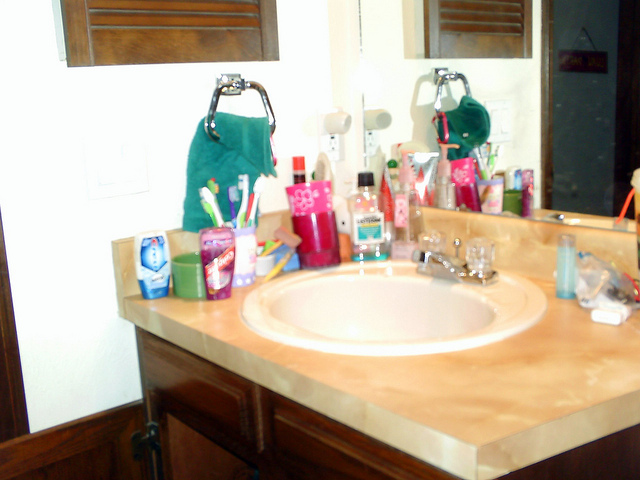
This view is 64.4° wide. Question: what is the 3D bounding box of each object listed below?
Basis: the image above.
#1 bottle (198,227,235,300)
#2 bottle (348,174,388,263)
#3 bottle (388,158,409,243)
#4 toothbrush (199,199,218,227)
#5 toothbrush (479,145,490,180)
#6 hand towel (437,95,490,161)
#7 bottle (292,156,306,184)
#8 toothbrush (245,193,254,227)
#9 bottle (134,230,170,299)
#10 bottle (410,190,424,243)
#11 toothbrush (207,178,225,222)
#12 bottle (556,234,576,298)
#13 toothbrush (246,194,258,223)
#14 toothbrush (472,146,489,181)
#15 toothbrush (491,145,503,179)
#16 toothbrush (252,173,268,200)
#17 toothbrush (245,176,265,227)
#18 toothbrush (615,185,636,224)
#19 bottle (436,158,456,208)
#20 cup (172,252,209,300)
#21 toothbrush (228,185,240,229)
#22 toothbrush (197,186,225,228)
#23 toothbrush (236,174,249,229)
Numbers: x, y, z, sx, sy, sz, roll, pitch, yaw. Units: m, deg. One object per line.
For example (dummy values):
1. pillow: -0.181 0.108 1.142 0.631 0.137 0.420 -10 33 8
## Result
1. bottle: -0.259 0.060 1.260 0.089 0.180 0.098 -2 4 0
2. bottle: 0.141 -0.079 1.433 0.101 0.254 0.088 6 37 15
3. bottle: 0.226 -0.112 1.458 0.054 0.226 0.160 -2 12 8
4. toothbrush: -0.284 -0.077 1.299 0.012 0.113 0.025 35 62 31
5. toothbrush: 0.414 -0.201 1.292 0.016 0.100 0.013 -13 6 1
6. hand towel: 0.382 -0.292 1.312 0.013 0.159 0.125 -13 15 -38
7. bottle: -0.062 -0.200 1.435 0.034 0.073 0.052 -5 12 -5
8. toothbrush: -0.184 -0.089 1.364 0.011 0.109 0.009 16 -7 -15
9. bottle: -0.422 0.063 1.276 0.081 0.166 0.030 -9 13 -22
10. bottle: 0.276 -0.071 1.455 0.041 0.140 0.050 -2 12 12
11. toothbrush: -0.275 -0.104 1.351 0.021 0.121 0.011 -26 11 -39
12. bottle: 0.537 0.058 1.104 0.038 0.129 0.042 2 13 28
13. toothbrush: -0.181 -0.085 1.343 0.019 0.093 0.010 13 -18 -12
14. toothbrush: 0.408 -0.202 1.299 0.017 0.125 0.016 -18 -1 17
15. toothbrush: 0.440 -0.200 1.264 0.008 0.071 0.015 -6 22 -31
16. toothbrush: -0.161 -0.146 1.350 0.046 0.063 0.045 1 13 23
17. toothbrush: -0.171 -0.109 1.336 0.027 0.187 0.008 8 -15 15
18. toothbrush: 0.654 -0.072 1.075 0.024 0.078 0.043 -7 12 -14
19. bottle: 0.343 -0.154 1.385 0.015 0.128 0.062 -12 14 -32
20. cup: -0.323 0.089 1.316 0.105 0.090 0.107 -4 10 1
21. toothbrush: -0.229 -0.084 1.345 0.025 0.126 0.021 -4 5 2
22. toothbrush: -0.280 -0.075 1.325 0.016 0.153 0.035 21 50 39
23. toothbrush: -0.209 -0.099 1.325 0.029 0.142 0.016 2 0 -6
